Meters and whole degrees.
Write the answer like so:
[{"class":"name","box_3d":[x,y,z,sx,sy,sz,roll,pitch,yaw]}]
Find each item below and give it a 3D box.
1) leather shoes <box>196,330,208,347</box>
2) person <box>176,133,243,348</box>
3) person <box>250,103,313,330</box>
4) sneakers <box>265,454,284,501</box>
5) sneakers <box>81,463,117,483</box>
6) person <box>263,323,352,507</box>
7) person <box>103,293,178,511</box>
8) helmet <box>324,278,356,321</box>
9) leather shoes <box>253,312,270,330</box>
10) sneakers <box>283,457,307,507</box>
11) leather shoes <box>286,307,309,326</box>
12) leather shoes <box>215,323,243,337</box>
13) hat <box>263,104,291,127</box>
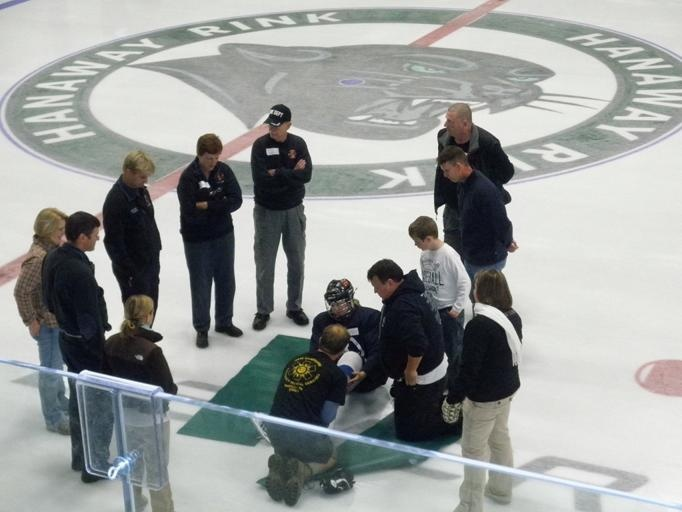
[{"class":"leather shoes","box_3d":[-1.577,0.943,8.036,0.091,0.088,0.242,-2,15,-8]},{"class":"person","box_3d":[-1.436,-0.173,7.886,0.688,2.376,0.506,-5,20,-21]},{"class":"person","box_3d":[-0.698,-0.439,8.199,0.673,2.560,0.684,0,19,-7]},{"class":"sneakers","box_3d":[-0.456,1.539,4.996,0.149,0.319,0.145,-5,2,10]},{"class":"sneakers","box_3d":[-1.715,1.534,5.057,0.155,0.122,0.112,-19,42,-17]},{"class":"person","box_3d":[-0.292,1.211,5.452,0.500,0.423,1.153,16,43,4]},{"class":"person","box_3d":[-1.494,1.077,5.402,0.539,1.291,1.277,-4,18,-18]},{"class":"helmet","box_3d":[0.002,0.402,6.870,0.327,0.347,0.372,-1,33,18]},{"class":"leather shoes","box_3d":[-0.946,0.758,8.353,0.116,0.099,0.259,2,13,8]},{"class":"sneakers","box_3d":[-0.317,1.573,4.992,0.160,0.368,0.183,12,13,12]},{"class":"leather shoes","box_3d":[-0.516,0.698,8.423,0.121,0.123,0.321,-23,33,-38]},{"class":"leather shoes","box_3d":[-1.290,0.849,8.245,0.364,0.134,0.123,6,30,13]},{"class":"hat","box_3d":[-0.670,-1.612,7.985,0.226,0.170,0.330,26,38,22]}]
